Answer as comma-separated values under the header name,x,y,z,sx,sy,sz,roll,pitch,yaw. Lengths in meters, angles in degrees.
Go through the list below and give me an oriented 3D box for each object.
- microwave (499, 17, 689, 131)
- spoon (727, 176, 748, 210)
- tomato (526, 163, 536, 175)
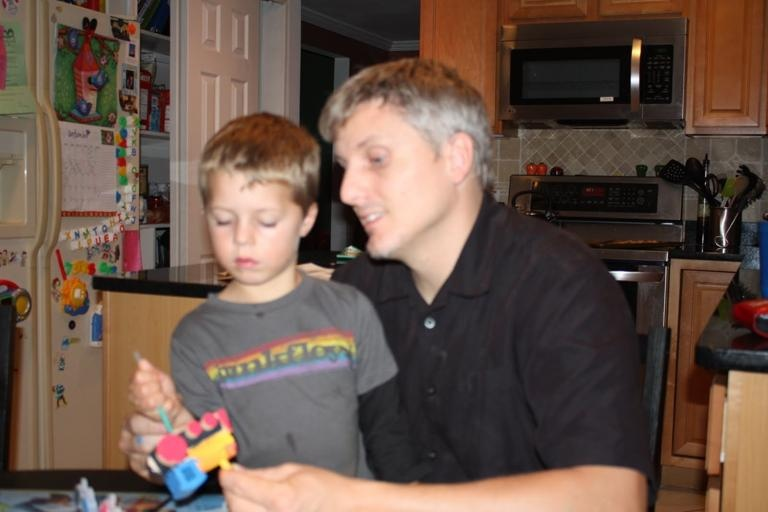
name,x,y,z,sx,sy,sz,roll,pitch,yaw
microwave,1.388,-1.296,4.157,1.086,0.619,0.668,5,37,23
spoon,2.183,-0.399,3.888,0.103,0.190,0.093,1,4,28
tomato,1.037,-0.607,4.438,0.061,0.085,0.022,2,-2,11
